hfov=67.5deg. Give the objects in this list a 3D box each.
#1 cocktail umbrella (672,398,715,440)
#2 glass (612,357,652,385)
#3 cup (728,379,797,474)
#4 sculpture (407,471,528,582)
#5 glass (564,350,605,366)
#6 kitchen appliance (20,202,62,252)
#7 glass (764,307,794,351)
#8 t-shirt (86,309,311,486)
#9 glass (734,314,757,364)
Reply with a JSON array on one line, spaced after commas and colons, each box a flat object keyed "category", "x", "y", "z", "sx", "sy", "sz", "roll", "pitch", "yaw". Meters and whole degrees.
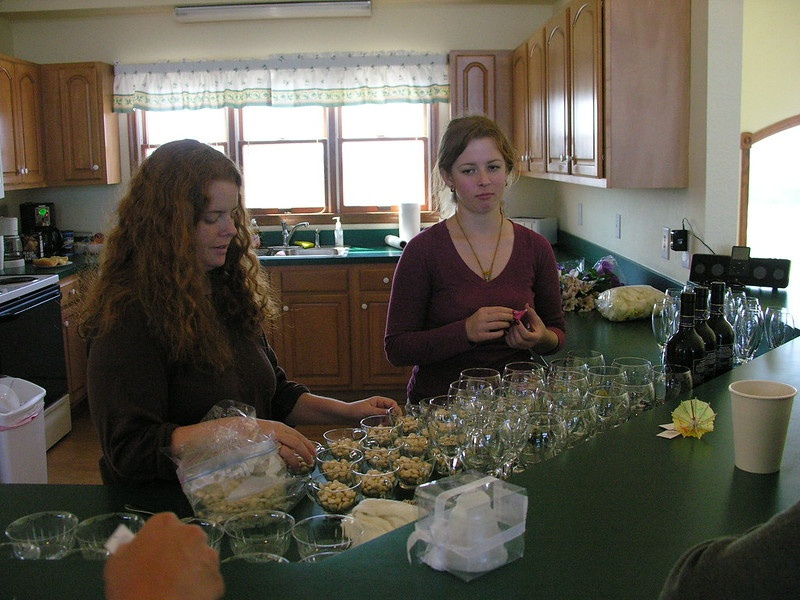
[{"category": "cocktail umbrella", "x": 0.631, "y": 0.253, "z": 1.284, "sx": 0.084, "sy": 0.038, "sz": 0.078, "roll": -17, "pitch": 11, "yaw": -20}, {"category": "glass", "x": 0.605, "y": 0.185, "z": 1.562, "sx": 0.079, "sy": 0.079, "sz": 0.080, "roll": 0, "pitch": 0, "yaw": 41}, {"category": "cup", "x": 0.702, "y": 0.248, "z": 1.167, "sx": 0.107, "sy": 0.164, "sz": 0.099, "roll": -3, "pitch": 8, "yaw": 0}, {"category": "sculpture", "x": 0.105, "y": 0.327, "z": 0.929, "sx": 0.144, "sy": 0.118, "sz": 0.144, "roll": 1, "pitch": 3, "yaw": 45}, {"category": "glass", "x": 0.524, "y": 0.169, "z": 1.713, "sx": 0.068, "sy": 0.053, "sz": 0.073, "roll": -1, "pitch": 0, "yaw": -6}, {"category": "kitchen appliance", "x": -2.875, "y": -0.550, "z": 4.785, "sx": 0.271, "sy": 0.408, "sz": 0.265, "roll": -11, "pitch": 6, "yaw": -8}, {"category": "glass", "x": 1.325, "y": 0.095, "z": 2.082, "sx": 0.206, "sy": 0.135, "sz": 0.049, "roll": -9, "pitch": 10, "yaw": -34}, {"category": "t-shirt", "x": -0.614, "y": 0.260, "z": 1.645, "sx": 0.397, "sy": 0.495, "sz": 0.624, "roll": -20, "pitch": -11, "yaw": 28}, {"category": "glass", "x": 1.138, "y": 0.120, "z": 1.958, "sx": 0.088, "sy": 0.171, "sz": 0.052, "roll": -6, "pitch": 9, "yaw": -22}]
